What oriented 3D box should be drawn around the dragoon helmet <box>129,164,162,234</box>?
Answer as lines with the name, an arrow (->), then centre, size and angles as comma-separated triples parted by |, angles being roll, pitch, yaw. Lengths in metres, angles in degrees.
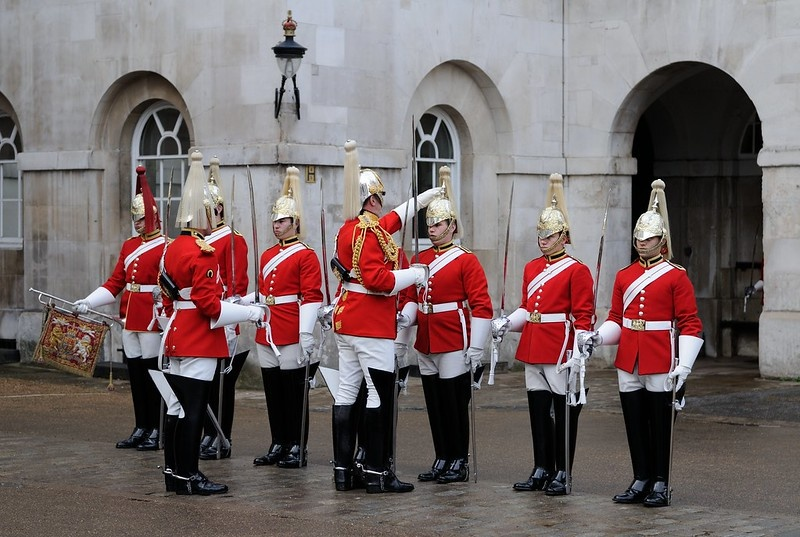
dragoon helmet -> -2.769, -0.750, 18.356 | 0.301, 0.705, 0.280 | -8, 24, -18

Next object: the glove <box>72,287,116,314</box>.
glove -> -3.396, 0.402, 19.013 | 0.427, 0.213, 0.267 | -18, 33, -14

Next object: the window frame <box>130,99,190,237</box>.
window frame -> -3.284, -1.243, 23.301 | 0.071, 1.604, 0.699 | -10, 10, -32

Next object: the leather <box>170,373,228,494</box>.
leather -> -2.023, 1.615, 16.824 | 0.513, 1.162, 0.292 | 0, 0, -9

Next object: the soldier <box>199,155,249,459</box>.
soldier -> -1.887, 0.452, 18.313 | 0.529, 3.134, 0.367 | 2, 15, 1

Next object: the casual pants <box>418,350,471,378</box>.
casual pants -> 0.396, 0.962, 17.195 | 0.477, 0.342, 0.286 | -5, -2, 38

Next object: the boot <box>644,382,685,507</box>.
boot -> 2.504, 1.668, 16.458 | 0.418, 1.197, 0.274 | 0, 0, -44

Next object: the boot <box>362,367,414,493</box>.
boot -> -0.134, 1.629, 16.966 | 0.592, 1.215, 0.349 | 6, -13, -36

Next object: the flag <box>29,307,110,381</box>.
flag -> -3.988, 0.931, 20.844 | 0.853, 0.735, 0.067 | 21, -4, 7

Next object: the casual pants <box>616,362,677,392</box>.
casual pants -> 2.330, 0.979, 16.537 | 0.425, 0.302, 0.238 | -5, -10, 35

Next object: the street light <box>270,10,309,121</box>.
street light -> -1.402, -2.507, 21.351 | 0.397, 1.327, 0.583 | 0, 0, -4

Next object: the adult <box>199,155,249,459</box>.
adult -> -1.913, 0.451, 18.303 | 0.529, 3.134, 0.367 | 2, 15, 1

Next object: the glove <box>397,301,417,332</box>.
glove -> 0.041, 0.477, 17.208 | 0.091, 0.083, 0.300 | 22, 23, 12

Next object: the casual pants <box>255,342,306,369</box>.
casual pants -> -1.313, 0.924, 17.847 | 0.447, 0.319, 0.262 | -2, -1, 35

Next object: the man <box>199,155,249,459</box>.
man -> -1.915, 0.605, 18.349 | 0.529, 3.134, 0.367 | 2, 15, 1

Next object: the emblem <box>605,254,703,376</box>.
emblem -> 2.406, 0.442, 16.709 | 1.123, 1.117, 0.536 | 7, 9, 34

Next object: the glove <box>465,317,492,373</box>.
glove -> 0.763, 0.753, 17.135 | 0.252, 0.532, 0.248 | 0, 0, 2

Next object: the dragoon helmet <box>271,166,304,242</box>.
dragoon helmet -> -1.200, -0.691, 17.933 | 0.310, 0.705, 0.441 | 0, 0, -4

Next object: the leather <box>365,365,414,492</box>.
leather -> -0.140, 1.581, 16.813 | 0.389, 1.188, 0.314 | 0, 0, -42
